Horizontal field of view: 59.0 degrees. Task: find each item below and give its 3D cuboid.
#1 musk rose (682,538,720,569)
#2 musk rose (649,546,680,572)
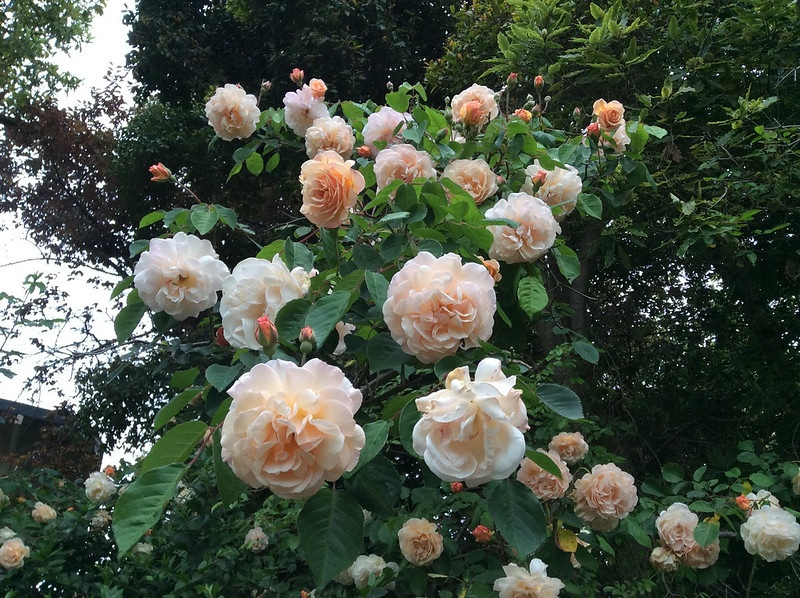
[{"bbox_3d":[1.796,1.517,4.253,0.203,0.214,0.133,-9,30,3],"label":"musk rose"},{"bbox_3d":[1.570,1.545,4.237,0.144,0.142,0.076,-46,-21,-6],"label":"musk rose"}]
